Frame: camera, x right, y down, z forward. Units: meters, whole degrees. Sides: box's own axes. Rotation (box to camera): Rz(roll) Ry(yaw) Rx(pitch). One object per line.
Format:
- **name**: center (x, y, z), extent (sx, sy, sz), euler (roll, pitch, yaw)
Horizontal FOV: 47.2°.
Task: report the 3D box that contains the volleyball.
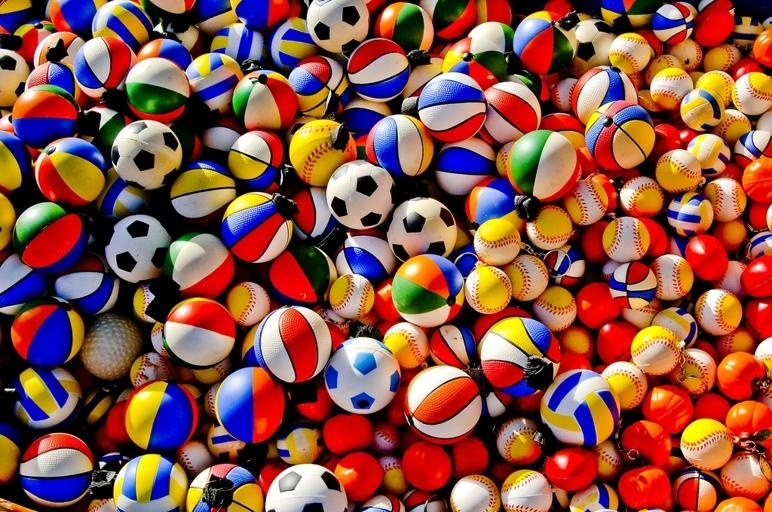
- **volleyball**: center (1.310, 0.985, 6.003), extent (0.426, 0.451, 0.522), euler (-10, 90, 12)
